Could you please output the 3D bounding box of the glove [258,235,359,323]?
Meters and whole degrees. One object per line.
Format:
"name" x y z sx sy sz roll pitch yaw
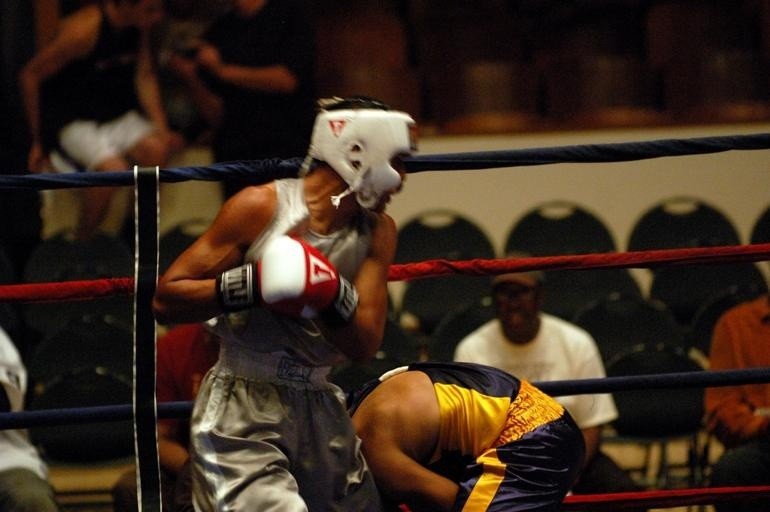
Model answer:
"glove" -0.312 0.110 4.033 0.405 0.160 0.282 23 -34 -2

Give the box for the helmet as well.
"helmet" -0.094 -0.411 4.377 0.461 0.363 0.354 -22 0 1
